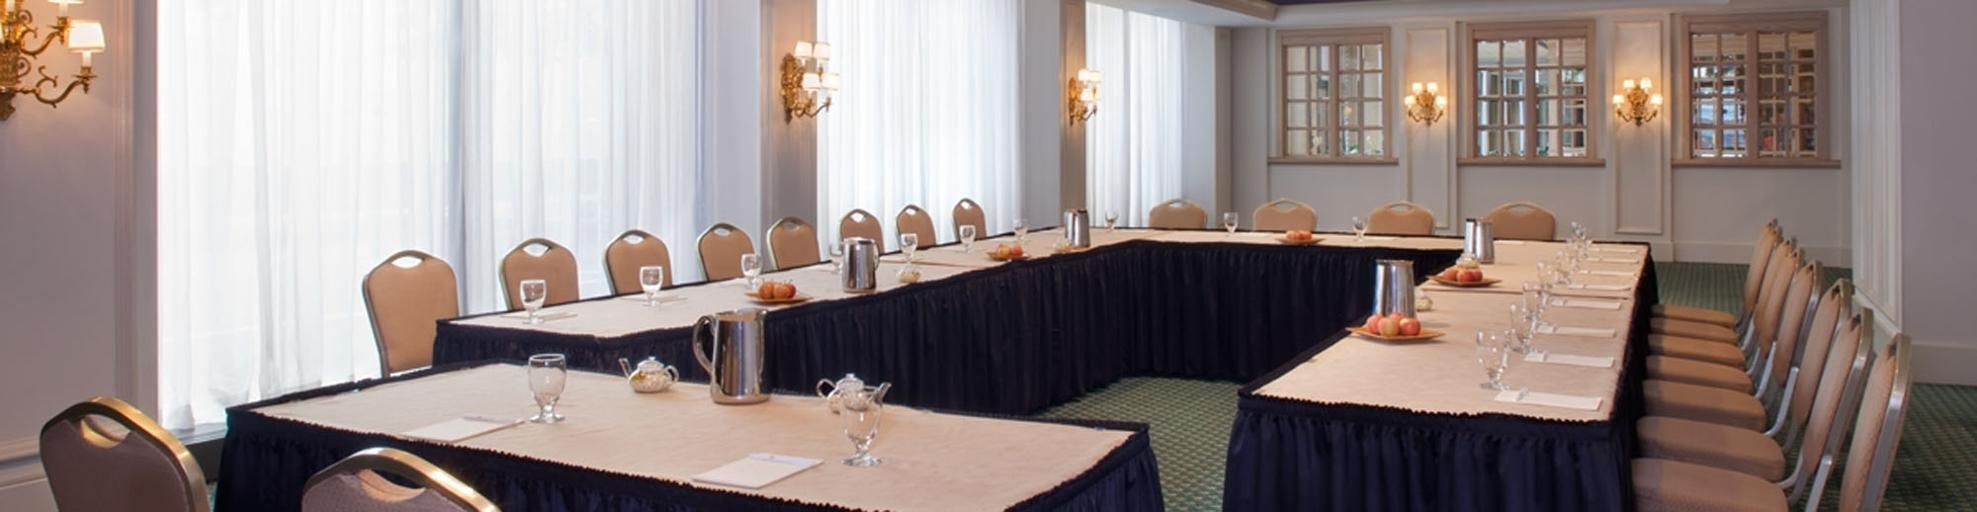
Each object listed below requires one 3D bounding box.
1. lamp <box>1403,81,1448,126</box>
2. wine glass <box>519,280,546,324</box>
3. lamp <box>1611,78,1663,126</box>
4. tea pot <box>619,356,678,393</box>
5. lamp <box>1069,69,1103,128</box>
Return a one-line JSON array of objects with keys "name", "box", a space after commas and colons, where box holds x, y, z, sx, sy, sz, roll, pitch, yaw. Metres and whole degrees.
[{"name": "lamp", "box": [10.862, -3.787, 23.293, 1.046, 1.060, 0.237, 0, 11, 13]}, {"name": "wine glass", "box": [-7.309, 0.725, 15.002, 0.314, 0.657, 0.307, -5, 11, -18]}, {"name": "lamp", "box": [15.701, -3.733, 22.679, 1.089, 1.126, 0.312, 1, 11, 18]}, {"name": "tea pot", "box": [-5.101, 1.764, 14.126, 0.951, 0.344, 0.510, 3, 16, 6]}, {"name": "lamp", "box": [2.194, -3.607, 21.266, 0.489, 1.262, 0.725, 4, 11, 28]}]
